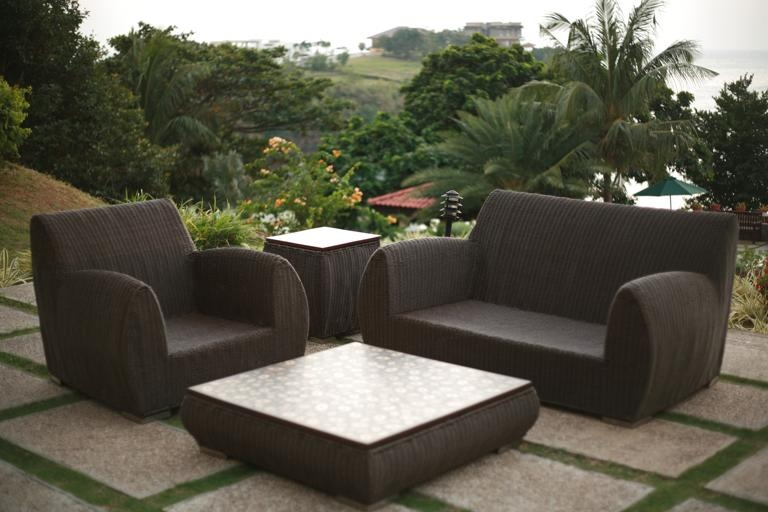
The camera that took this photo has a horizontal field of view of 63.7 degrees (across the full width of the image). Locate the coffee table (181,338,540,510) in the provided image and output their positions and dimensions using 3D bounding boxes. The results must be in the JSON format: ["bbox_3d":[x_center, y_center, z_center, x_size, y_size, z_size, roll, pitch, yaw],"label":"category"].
[{"bbox_3d":[-0.135,0.993,3.766,1.637,0.502,1.355,11,16,36],"label":"coffee table"}]
